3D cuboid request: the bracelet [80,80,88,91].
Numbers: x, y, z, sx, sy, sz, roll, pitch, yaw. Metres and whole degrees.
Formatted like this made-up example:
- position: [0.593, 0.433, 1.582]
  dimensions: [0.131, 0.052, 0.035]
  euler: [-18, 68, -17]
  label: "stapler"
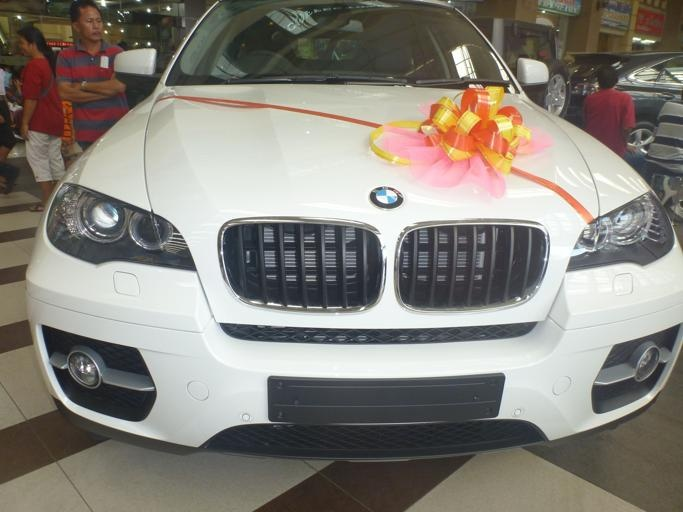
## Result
- position: [-1.944, -1.306, 3.857]
  dimensions: [0.059, 0.084, 0.025]
  euler: [1, -4, 7]
  label: "bracelet"
